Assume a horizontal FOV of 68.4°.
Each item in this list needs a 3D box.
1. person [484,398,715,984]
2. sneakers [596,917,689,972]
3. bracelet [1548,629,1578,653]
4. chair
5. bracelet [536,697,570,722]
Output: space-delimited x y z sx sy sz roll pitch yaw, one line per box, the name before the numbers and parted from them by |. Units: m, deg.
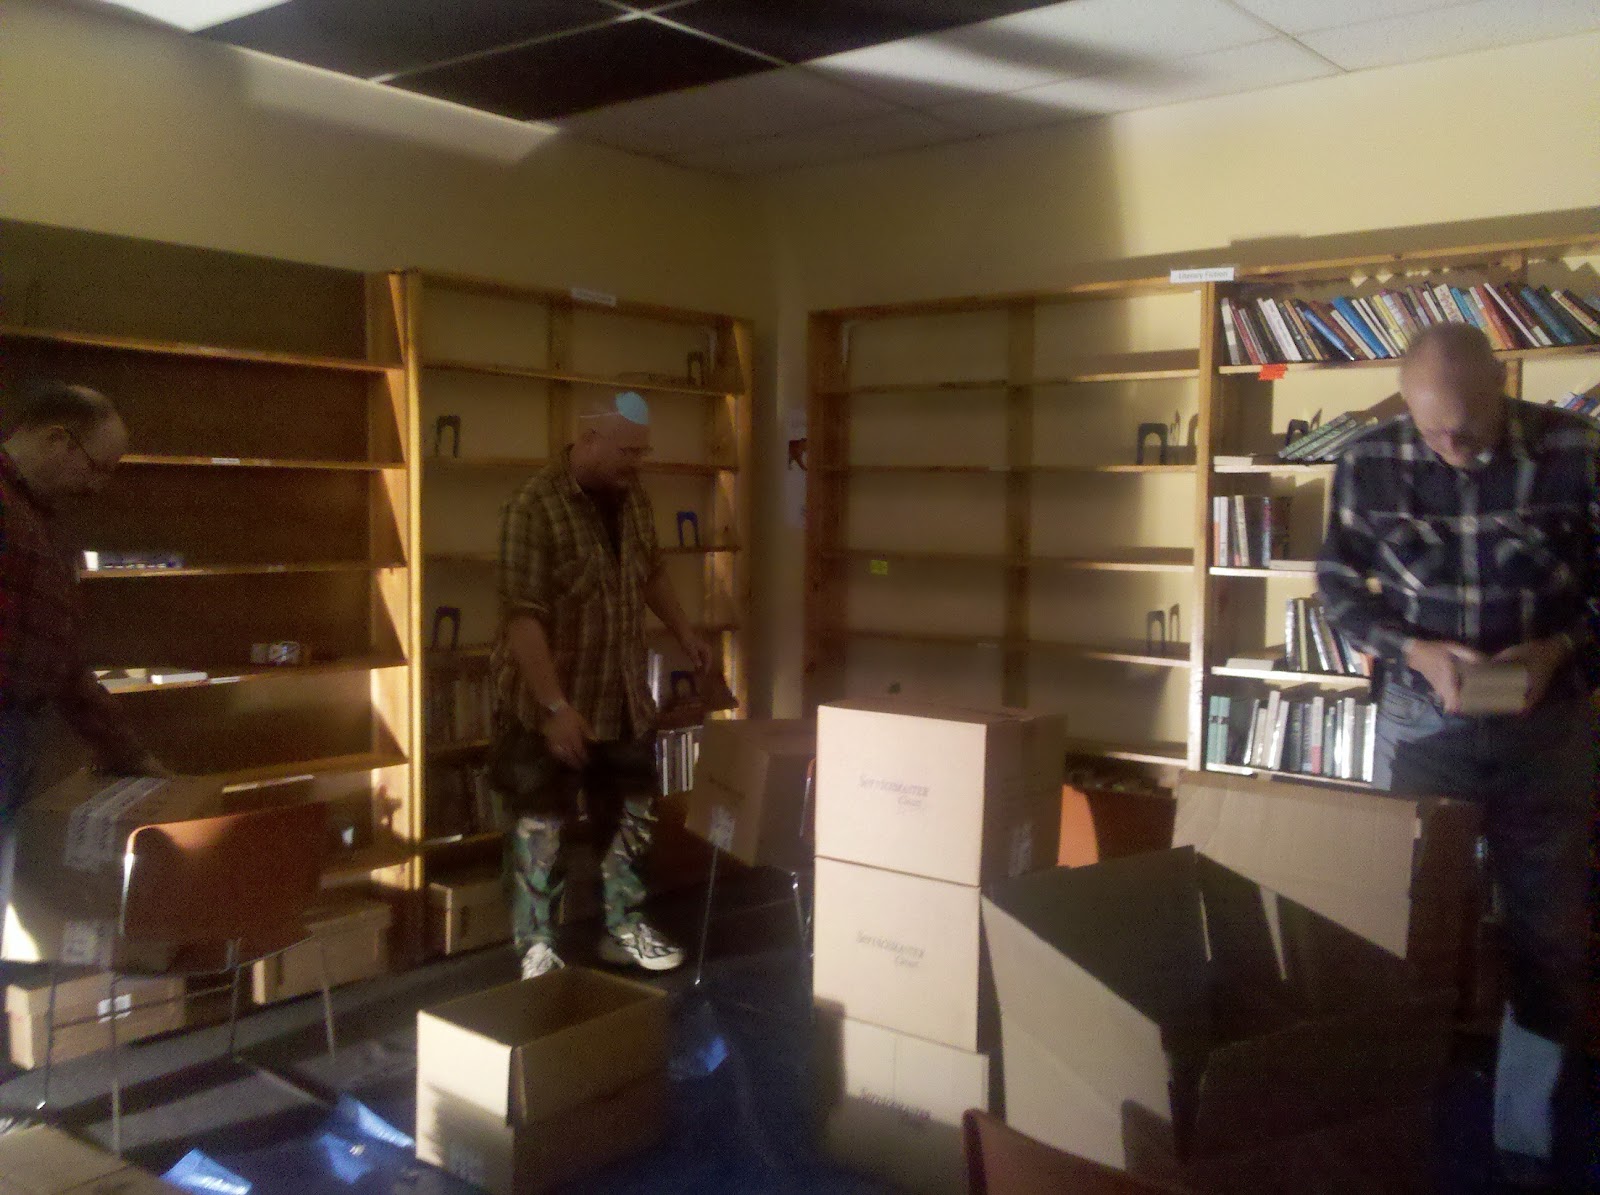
person | -0.729 0.366 4.207 0.470 2.150 0.661 3 6 37
sneakers | -0.610 1.342 4.591 0.330 0.164 0.149 1 4 25
bracelet | 1.816 0.105 2.817 0.053 0.054 0.052 -3 -2 -16
chair | -1.718 1.025 3.393 0.689 0.927 0.633 2 4 -34
bracelet | -0.814 0.374 3.912 0.071 0.048 0.072 -3 4 -43
